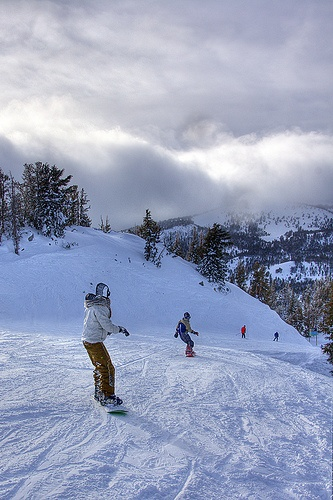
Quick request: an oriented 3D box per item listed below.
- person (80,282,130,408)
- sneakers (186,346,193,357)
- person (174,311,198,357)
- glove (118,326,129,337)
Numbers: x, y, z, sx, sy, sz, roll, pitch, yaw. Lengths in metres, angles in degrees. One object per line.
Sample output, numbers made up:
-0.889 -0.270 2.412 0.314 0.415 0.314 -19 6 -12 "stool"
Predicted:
-1.111 1.691 9.143 0.768 2.157 0.497 3 -1 6 "person"
0.669 3.058 15.509 0.242 0.270 0.226 -16 -5 31 "sneakers"
0.589 2.575 15.892 0.650 1.240 1.624 3 -1 2 "person"
-0.744 1.439 9.011 0.173 0.064 0.237 35 4 25 "glove"
